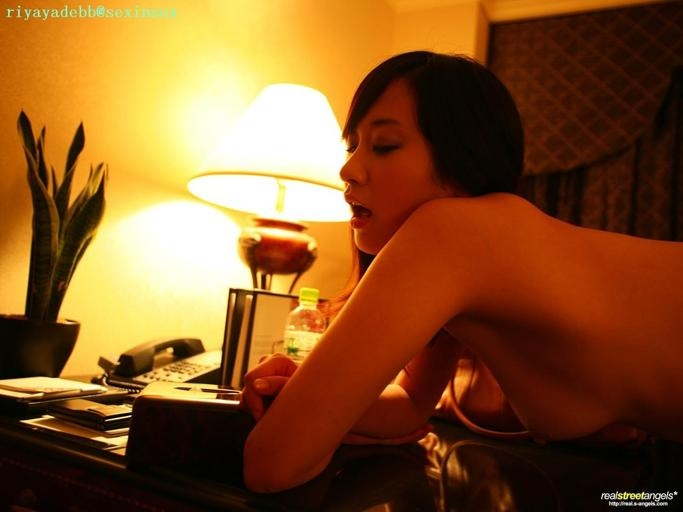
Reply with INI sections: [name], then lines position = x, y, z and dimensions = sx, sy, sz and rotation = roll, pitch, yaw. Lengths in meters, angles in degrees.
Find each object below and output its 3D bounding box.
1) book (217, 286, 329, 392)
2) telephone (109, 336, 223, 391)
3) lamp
[book]
position = -0.148, 0.177, 1.191
dimensions = 0.202, 0.226, 0.080
rotation = 4, -3, -33
[telephone]
position = -0.444, 0.285, 1.437
dimensions = 0.133, 0.072, 0.199
rotation = 0, -11, 31
[lamp]
position = -0.197, -0.145, 1.608
dimensions = 0.409, 0.724, 0.480
rotation = 2, -7, 10
